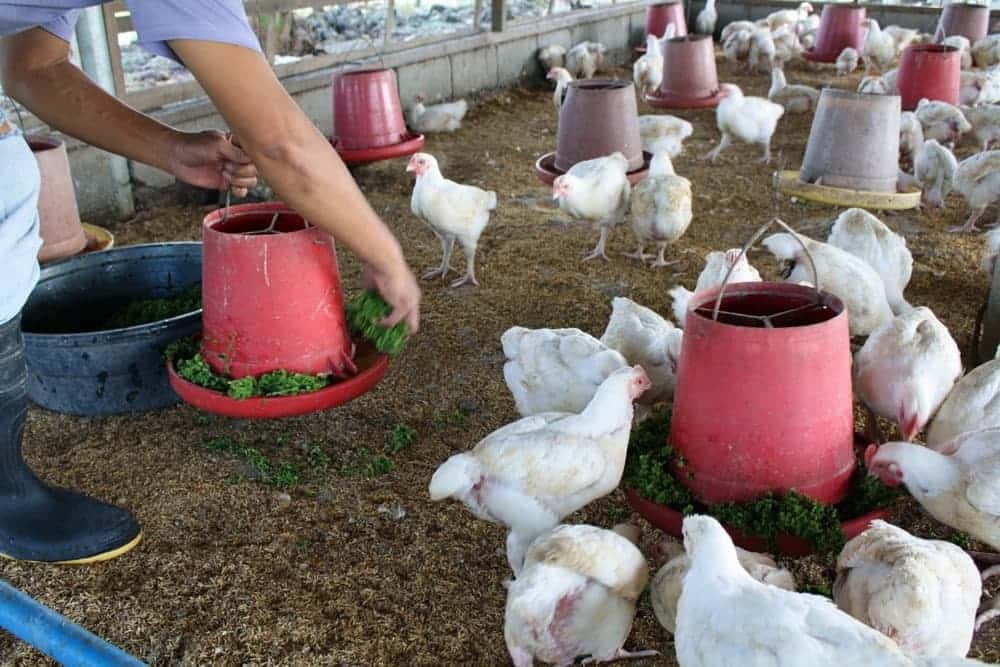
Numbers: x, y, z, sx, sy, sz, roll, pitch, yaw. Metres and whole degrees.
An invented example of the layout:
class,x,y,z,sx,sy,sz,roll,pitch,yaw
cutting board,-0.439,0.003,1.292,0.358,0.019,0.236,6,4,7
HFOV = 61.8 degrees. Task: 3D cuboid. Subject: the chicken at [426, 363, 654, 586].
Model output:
class,x,y,z,sx,sy,sz,roll,pitch,yaw
chicken,0.081,0.458,3.723,1.125,1.081,0.550,-7,29,-3
